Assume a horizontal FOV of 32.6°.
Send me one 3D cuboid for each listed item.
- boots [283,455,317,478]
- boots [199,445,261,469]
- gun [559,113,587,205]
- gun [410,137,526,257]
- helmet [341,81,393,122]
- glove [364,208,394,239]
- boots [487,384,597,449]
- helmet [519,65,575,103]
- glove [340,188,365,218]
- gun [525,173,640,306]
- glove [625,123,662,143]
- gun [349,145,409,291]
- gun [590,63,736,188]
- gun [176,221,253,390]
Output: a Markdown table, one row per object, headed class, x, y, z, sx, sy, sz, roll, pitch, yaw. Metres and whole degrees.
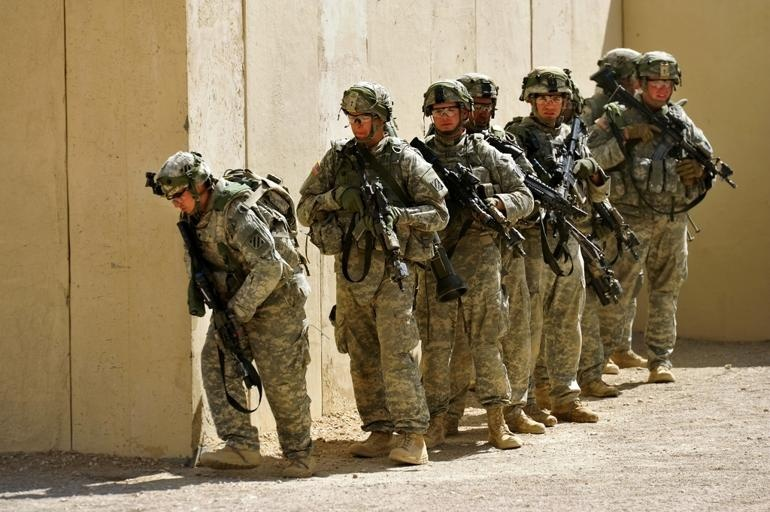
| class | x | y | z | sx | sy | sz | roll | pitch | yaw |
| --- | --- | --- | --- | --- | --- | --- | --- | --- | --- |
| boots | -0.744 | 1.865 | 11.498 | 0.264 | 0.170 | 0.153 | 7 | -9 | -13 |
| boots | -1.321 | 1.765 | 11.392 | 0.564 | 0.203 | 0.242 | 3 | 23 | -6 |
| gun | 1.871 | -0.936 | 12.960 | 0.112 | 1.036 | 0.443 | -7 | -37 | 25 |
| gun | 0.724 | -0.561 | 12.089 | 0.212 | 0.617 | 1.491 | -22 | 56 | -33 |
| helmet | -0.154 | -1.378 | 11.860 | 0.503 | 0.403 | 0.558 | 8 | 13 | 24 |
| glove | -0.048 | -0.308 | 11.509 | 0.259 | 0.229 | 0.127 | -1 | 4 | 4 |
| boots | 1.381 | 1.587 | 12.472 | 0.826 | 0.351 | 0.262 | -16 | 22 | -21 |
| helmet | 1.609 | -1.736 | 13.021 | 0.546 | 0.319 | 0.554 | -5 | 11 | -15 |
| glove | -0.287 | -0.478 | 11.631 | 0.179 | 0.241 | 0.096 | -2 | 13 | 30 |
| gun | 1.971 | -0.177 | 13.215 | 1.730 | 0.722 | 0.340 | 38 | 9 | -38 |
| glove | 2.759 | -1.332 | 14.098 | 0.279 | 0.212 | 0.079 | -4 | -32 | 11 |
| gun | -0.049 | -0.290 | 11.650 | 0.150 | 1.202 | 0.575 | -12 | -3 | -35 |
| gun | 3.122 | -1.433 | 14.638 | 2.246 | 0.721 | 0.335 | 38 | 12 | 1 |
| gun | -1.451 | 0.411 | 11.320 | 0.213 | 1.469 | 0.445 | -24 | -2 | -5 |
